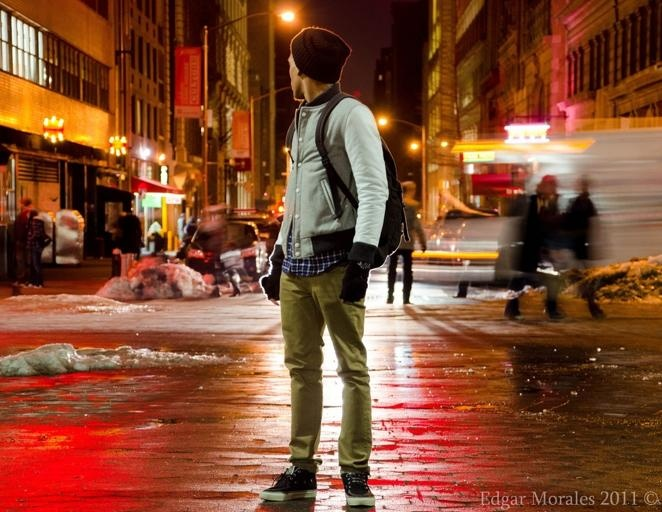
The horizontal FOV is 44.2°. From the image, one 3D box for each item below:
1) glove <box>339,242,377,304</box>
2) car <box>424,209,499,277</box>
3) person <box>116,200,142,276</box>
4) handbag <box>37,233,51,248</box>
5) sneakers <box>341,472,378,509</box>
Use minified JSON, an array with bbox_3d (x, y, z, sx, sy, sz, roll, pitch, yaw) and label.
[{"bbox_3d":[0.160,0.086,4.335,0.226,0.319,0.122,-3,7,-25],"label":"glove"},{"bbox_3d":[3.278,-0.308,20.442,1.304,1.026,2.119,1,6,-2],"label":"car"},{"bbox_3d":[-5.853,-0.324,23.338,0.598,1.735,1.003,1,6,14],"label":"person"},{"bbox_3d":[-7.615,-0.372,21.718,0.292,0.390,0.437,-2,6,-15],"label":"handbag"},{"bbox_3d":[0.150,1.275,4.481,0.172,0.167,0.185,-1,6,-4],"label":"sneakers"}]
